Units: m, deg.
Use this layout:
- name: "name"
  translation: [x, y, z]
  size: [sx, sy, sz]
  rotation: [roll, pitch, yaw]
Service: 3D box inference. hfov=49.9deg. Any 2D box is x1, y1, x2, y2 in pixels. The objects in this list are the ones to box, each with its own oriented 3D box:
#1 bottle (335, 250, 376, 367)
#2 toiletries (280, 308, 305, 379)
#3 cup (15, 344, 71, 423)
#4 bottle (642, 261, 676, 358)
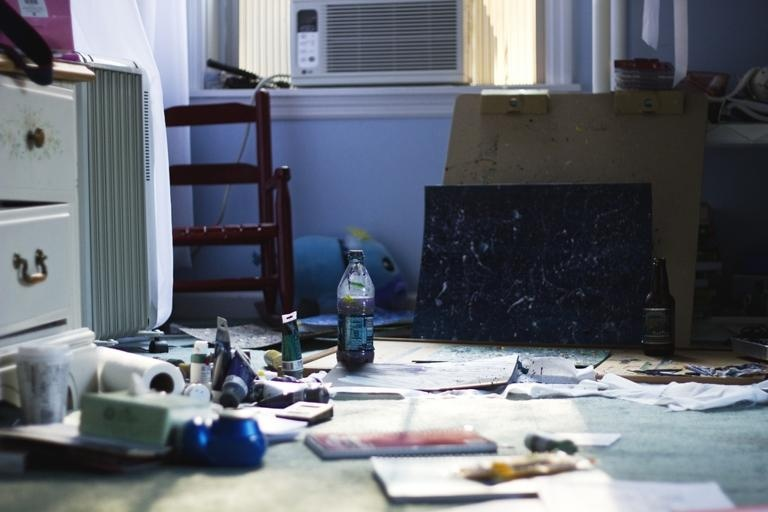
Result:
- name: "bottle"
  translation: [-0.087, 0.158, 2.552]
  size: [0.114, 0.349, 0.151]
  rotation: [1, 7, -4]
- name: "toiletries"
  translation: [-0.281, 0.262, 2.507]
  size: [0.070, 0.203, 0.191]
  rotation: [1, 7, -6]
- name: "cup"
  translation: [-0.862, 0.318, 2.089]
  size: [0.131, 0.196, 0.080]
  rotation: [-2, 8, -31]
- name: "bottle"
  translation: [0.895, 0.178, 2.748]
  size: [0.118, 0.287, 0.127]
  rotation: [0, -2, 0]
